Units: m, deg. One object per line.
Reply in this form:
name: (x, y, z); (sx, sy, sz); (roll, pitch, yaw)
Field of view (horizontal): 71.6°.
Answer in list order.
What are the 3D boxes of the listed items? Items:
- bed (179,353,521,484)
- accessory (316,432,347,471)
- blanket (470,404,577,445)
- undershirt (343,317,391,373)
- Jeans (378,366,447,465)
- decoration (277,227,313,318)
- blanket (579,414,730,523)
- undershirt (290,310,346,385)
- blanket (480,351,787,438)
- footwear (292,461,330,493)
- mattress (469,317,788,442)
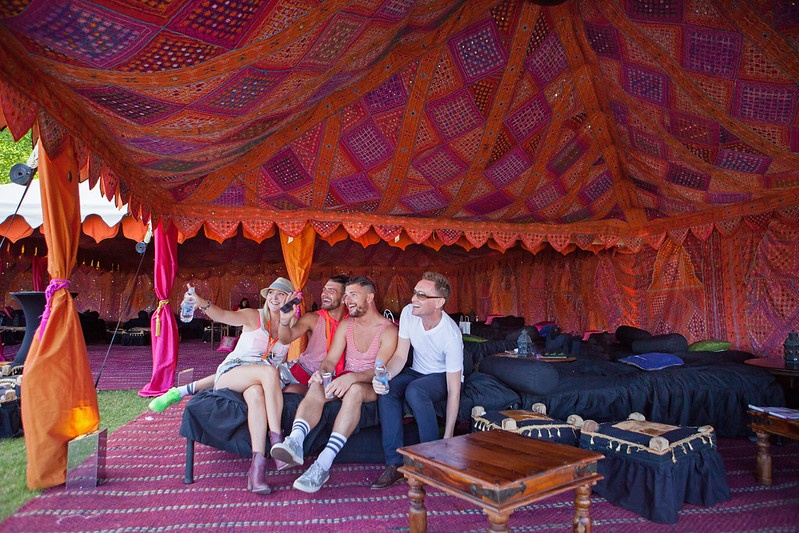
bed: (-0.744, 1.442, 5.378); (2.038, 1.039, 1.353); (2, -5, -1)
accessory: (-0.599, 1.605, 4.837); (0.154, 0.132, 0.429); (18, 31, 10)
blanket: (1.112, 1.382, 4.867); (0.479, 0.198, 0.467); (1, 0, -31)
undershirt: (-0.295, 0.752, 5.297); (0.460, 0.584, 0.335); (3, -15, 13)
Jeans: (0.162, 1.343, 5.200); (0.652, 0.701, 0.618); (-7, 0, -25)
decoration: (-1.563, -0.255, 8.616); (0.667, 1.366, 0.156); (6, -33, -18)
blanket: (2.152, 1.664, 4.579); (0.830, 0.507, 0.916); (-1, -4, 26)
undershirt: (-0.910, 0.818, 5.766); (0.335, 0.772, 0.437); (12, -2, -4)
blanket: (2.752, 1.349, 5.953); (2.136, 0.540, 1.362); (1, -4, -4)
footwear: (-0.735, 1.749, 4.585); (0.172, 0.157, 0.375); (21, -9, 25)
mattress: (2.491, 1.302, 5.817); (1.647, 0.373, 1.624); (-2, 3, -14)
